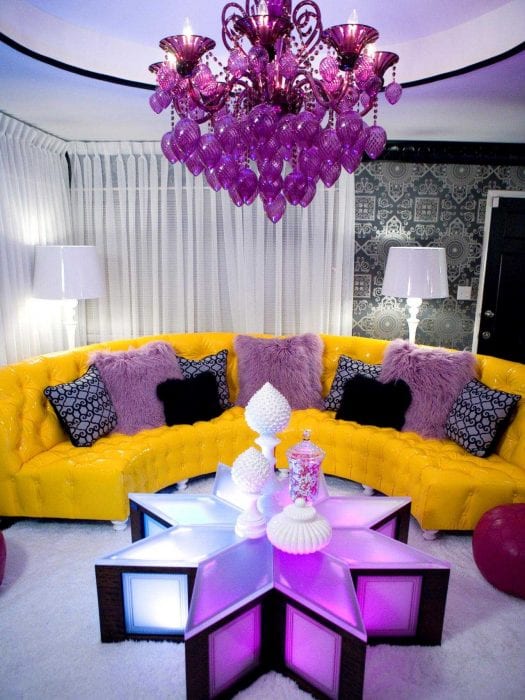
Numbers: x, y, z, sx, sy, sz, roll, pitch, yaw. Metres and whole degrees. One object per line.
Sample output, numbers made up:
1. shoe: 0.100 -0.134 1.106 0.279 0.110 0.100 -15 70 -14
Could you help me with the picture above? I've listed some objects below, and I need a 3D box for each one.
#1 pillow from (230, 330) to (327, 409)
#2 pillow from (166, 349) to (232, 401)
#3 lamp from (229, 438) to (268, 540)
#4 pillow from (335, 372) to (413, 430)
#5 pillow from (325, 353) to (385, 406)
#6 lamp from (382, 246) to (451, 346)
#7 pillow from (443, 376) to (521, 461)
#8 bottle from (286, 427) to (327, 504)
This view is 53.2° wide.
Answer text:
1. pillow: 0.108 0.147 3.463 0.495 0.469 0.145 0 -8 -1
2. pillow: -0.396 0.170 3.262 0.283 0.288 0.109 -11 -21 -6
3. lamp: -0.042 0.508 1.851 0.150 0.288 0.144 9 -11 -44
4. pillow: 0.639 0.303 3.019 0.376 0.277 0.104 12 -5 42
5. pillow: 0.583 0.241 3.340 0.317 0.301 0.103 18 -1 45
6. lamp: 1.061 -0.338 3.615 0.434 0.827 0.436 12 29 32
7. pillow: 1.091 0.348 2.614 0.102 0.329 0.327 24 4 -20
8. bottle: 0.164 0.445 1.959 0.140 0.286 0.138 -2 -6 0
